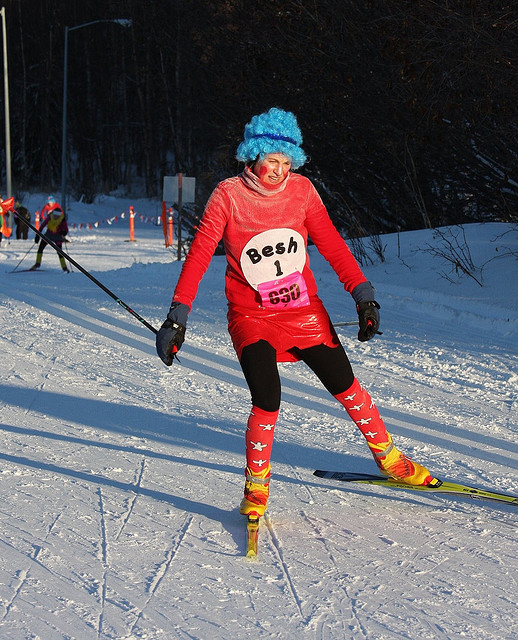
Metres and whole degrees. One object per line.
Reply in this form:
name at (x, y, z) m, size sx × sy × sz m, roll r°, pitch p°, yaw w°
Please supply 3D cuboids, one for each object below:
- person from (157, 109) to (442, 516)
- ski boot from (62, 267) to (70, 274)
person at (0.126, -0.056, 3.117) m, size 1.161 × 1.826 × 0.422 m, roll -3°, pitch 11°, yaw -29°
ski boot at (-3.757, -1.060, 13.491) m, size 0.155 × 0.119 × 0.217 m, roll -3°, pitch -6°, yaw -28°
